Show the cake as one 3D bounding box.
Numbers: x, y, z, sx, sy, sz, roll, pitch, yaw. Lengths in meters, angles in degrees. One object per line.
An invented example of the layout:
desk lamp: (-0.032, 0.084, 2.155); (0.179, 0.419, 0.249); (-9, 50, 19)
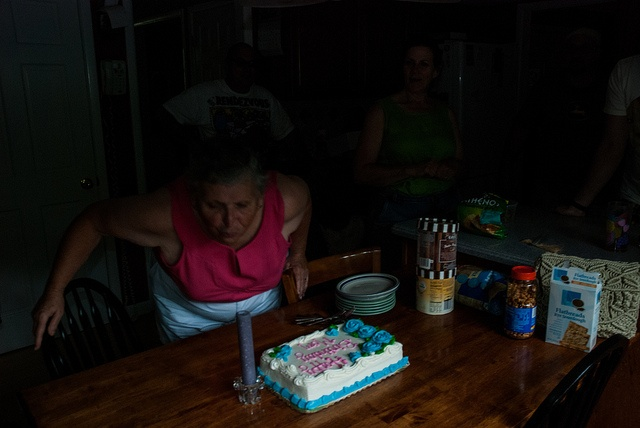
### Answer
cake: (0.046, 0.455, 1.473); (0.375, 0.102, 0.247); (-8, 14, -29)

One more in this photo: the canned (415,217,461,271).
canned: (0.463, 0.125, 1.816); (0.195, 0.185, 0.187); (5, 7, 22)

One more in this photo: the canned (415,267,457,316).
canned: (0.462, 0.312, 1.787); (0.201, 0.192, 0.185); (-1, 8, -1)
